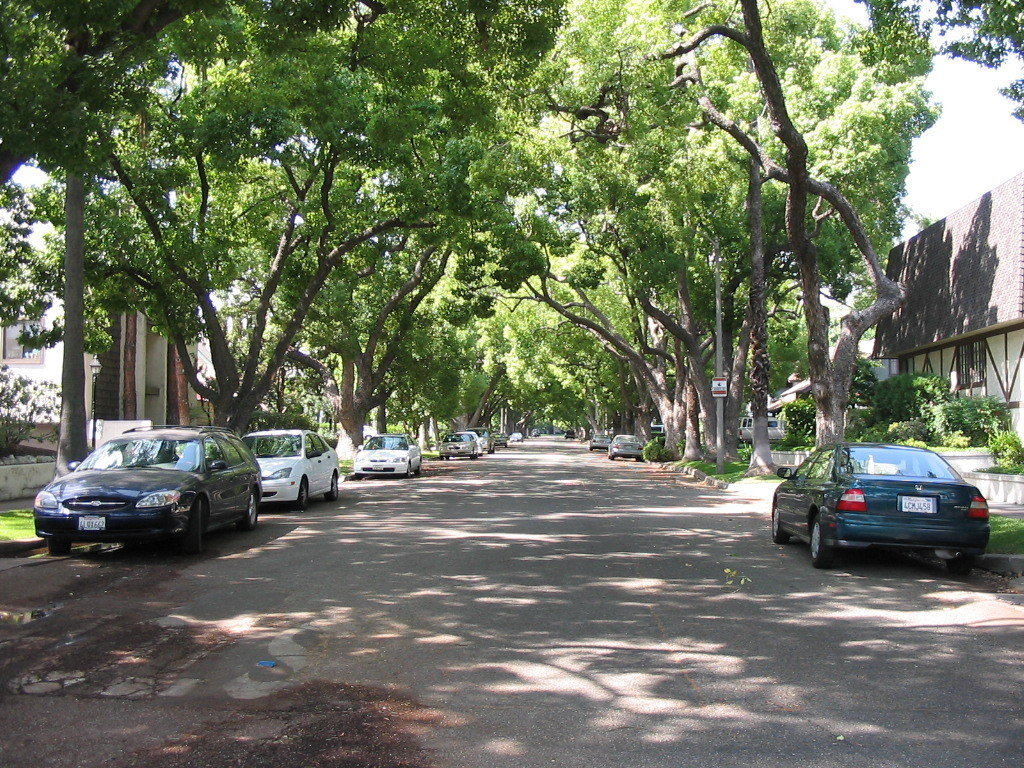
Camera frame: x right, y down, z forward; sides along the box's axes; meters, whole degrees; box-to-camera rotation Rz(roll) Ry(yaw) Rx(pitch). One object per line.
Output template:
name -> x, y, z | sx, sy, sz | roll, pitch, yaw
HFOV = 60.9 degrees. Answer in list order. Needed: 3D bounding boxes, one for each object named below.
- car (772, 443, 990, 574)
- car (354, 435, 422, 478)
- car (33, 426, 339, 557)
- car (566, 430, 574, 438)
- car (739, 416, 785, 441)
car -> 5.141, 1.777, 12.799 | 1.848, 1.822, 3.134 | 2, -7, -22
car -> -4.788, 2.691, 32.738 | 2.258, 1.719, 2.466 | 1, -6, -10
car -> -5.820, 1.775, 15.049 | 2.234, 2.118, 4.774 | -1, -7, 9
car -> 10.450, 9.195, 156.811 | 1.107, 1.143, 2.079 | -1, -8, 2
car -> 14.823, 2.747, 51.475 | 2.829, 1.695, 1.718 | 3, -1, 3
